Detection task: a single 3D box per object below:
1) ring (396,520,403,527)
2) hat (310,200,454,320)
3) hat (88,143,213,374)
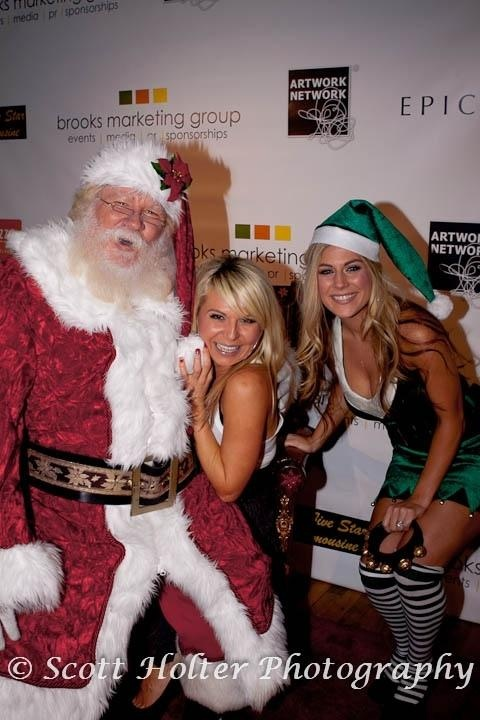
[{"bbox_3d":[0.509,0.529,1.835,0.017,0.017,0.017,-1,54,2],"label":"ring"},{"bbox_3d":[0.458,-0.380,1.980,0.401,0.326,0.165,1,8,-7],"label":"hat"},{"bbox_3d":[-0.272,-0.295,1.476,0.354,0.565,0.188,10,-13,-19],"label":"hat"}]
